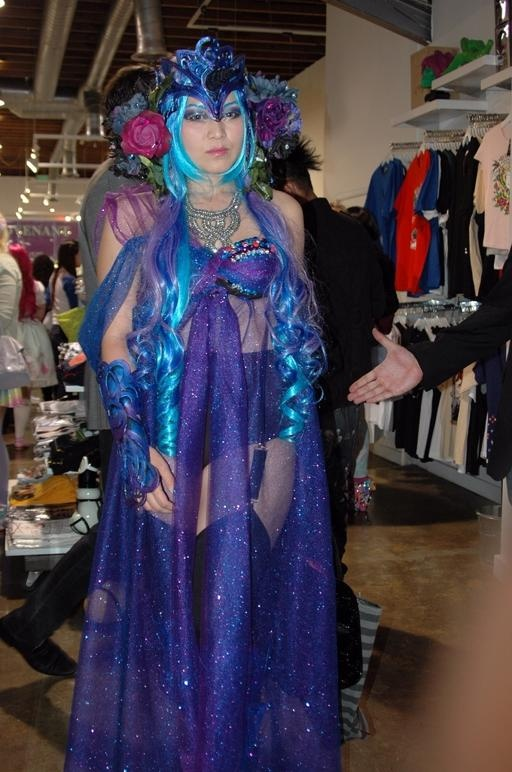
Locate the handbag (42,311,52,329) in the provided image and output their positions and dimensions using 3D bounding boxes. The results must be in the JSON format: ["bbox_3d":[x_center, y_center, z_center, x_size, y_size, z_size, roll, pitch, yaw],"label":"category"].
[{"bbox_3d":[-2.656,-0.827,7.502,0.064,0.217,0.211,8,3,-40],"label":"handbag"}]
